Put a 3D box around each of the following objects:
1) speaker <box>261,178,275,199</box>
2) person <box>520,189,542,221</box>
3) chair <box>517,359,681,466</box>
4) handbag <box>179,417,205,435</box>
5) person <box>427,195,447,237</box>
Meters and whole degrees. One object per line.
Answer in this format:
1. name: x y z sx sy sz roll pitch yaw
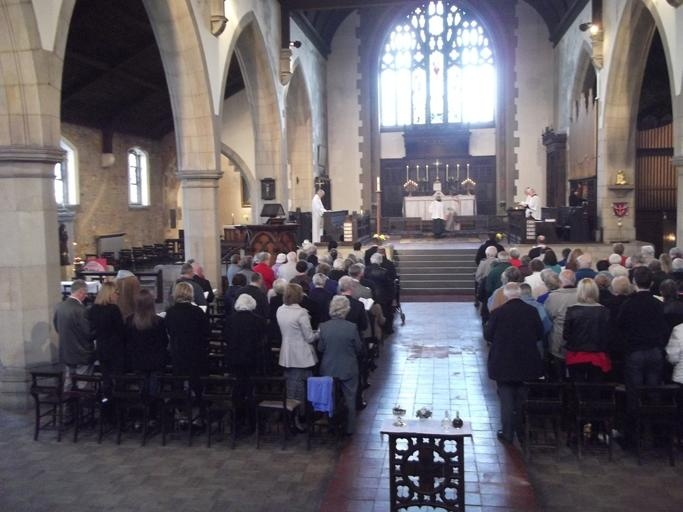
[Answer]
1. speaker: -2.051 -1.855 21.242 0.478 0.764 0.578 0 4 2
2. person: 5.065 -1.446 20.714 0.512 0.836 0.473 1 26 24
3. chair: 3.119 1.944 9.531 1.798 0.949 0.890 -1 -1 10
4. handbag: -2.031 2.261 10.349 0.344 0.122 0.229 5 13 5
5. person: 3.011 -1.246 24.173 0.464 0.902 1.141 -1 -1 8
